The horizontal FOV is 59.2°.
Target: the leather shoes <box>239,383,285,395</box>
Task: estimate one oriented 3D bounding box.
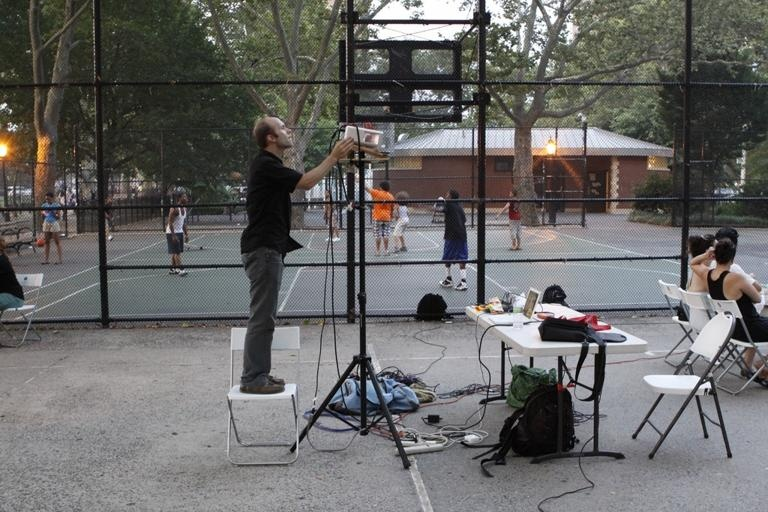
[{"bbox_3d":[-1.412,1.532,7.804,0.323,0.133,0.182,-1,-4,-3],"label":"leather shoes"}]

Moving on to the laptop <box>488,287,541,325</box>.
[{"bbox_3d":[1.697,0.630,8.688,0.454,0.342,0.523,0,8,-5],"label":"laptop"}]

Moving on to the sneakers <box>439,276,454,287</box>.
[{"bbox_3d":[1.398,0.603,15.680,0.156,0.299,0.395,-1,7,-32],"label":"sneakers"}]

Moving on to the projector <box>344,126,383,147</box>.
[{"bbox_3d":[-0.256,-1.399,7.975,0.495,0.274,0.270,8,21,-12],"label":"projector"}]

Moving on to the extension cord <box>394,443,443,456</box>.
[{"bbox_3d":[0.396,2.283,8.000,0.676,0.153,0.182,1,-3,-19],"label":"extension cord"}]

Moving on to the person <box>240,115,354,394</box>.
[{"bbox_3d":[-1.269,-0.051,7.980,1.140,3.166,0.969,-8,11,-42],"label":"person"}]

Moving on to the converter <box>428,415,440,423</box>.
[{"bbox_3d":[0.635,2.080,8.658,0.154,0.111,0.090,0,-1,6],"label":"converter"}]
